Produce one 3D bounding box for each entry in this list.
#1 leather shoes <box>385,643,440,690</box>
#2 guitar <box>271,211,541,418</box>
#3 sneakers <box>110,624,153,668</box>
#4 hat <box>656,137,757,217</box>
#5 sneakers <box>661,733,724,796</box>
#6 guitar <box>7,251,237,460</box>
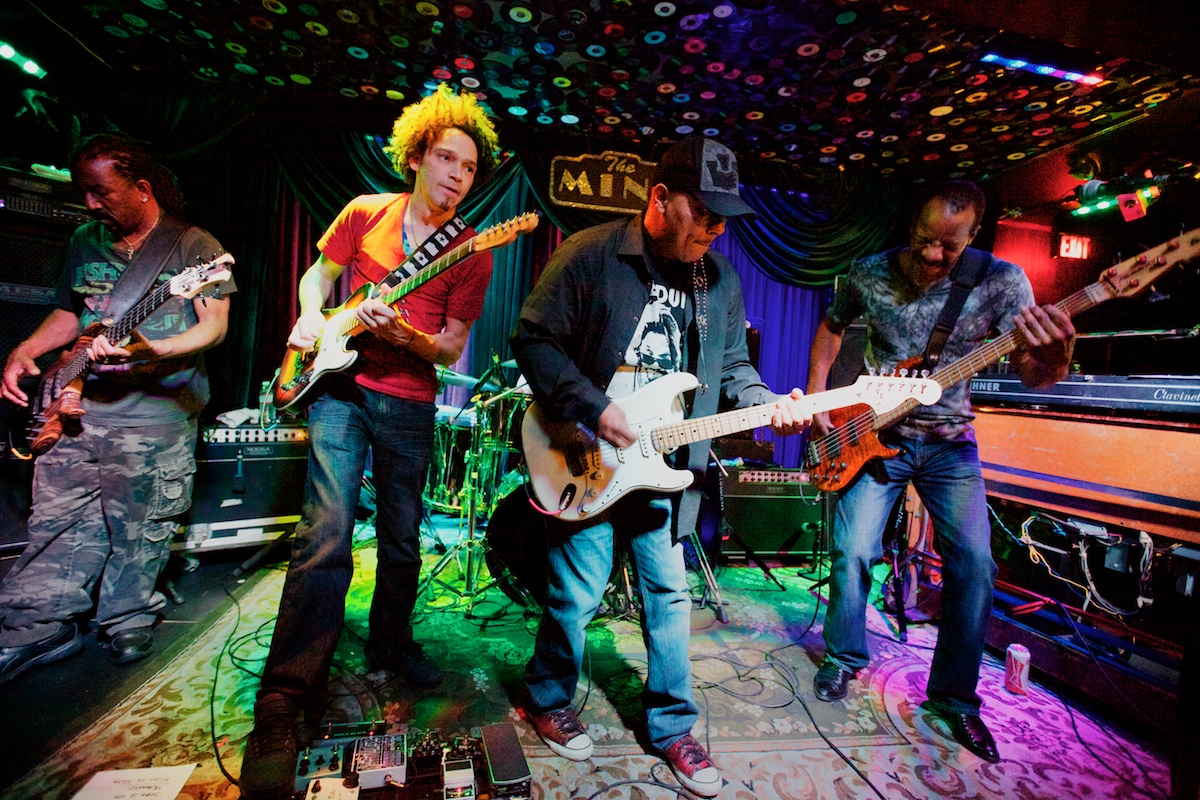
[{"bbox_3d":[-1.197,1.716,4.338,0.438,0.181,0.191,1,-7,37],"label":"leather shoes"},{"bbox_3d":[-1.323,-0.556,4.192,1.613,1.222,0.473,1,-3,18],"label":"guitar"},{"bbox_3d":[-3.087,1.609,4.490,0.258,0.141,0.240,4,-3,-38],"label":"sneakers"},{"bbox_3d":[0.609,-1.322,3.913,0.633,0.349,0.445,34,32,29],"label":"hat"},{"bbox_3d":[0.514,2.069,3.908,0.179,0.152,0.413,-2,16,-27],"label":"sneakers"},{"bbox_3d":[-3.152,-0.293,4.424,1.445,0.909,0.317,1,-2,11],"label":"guitar"}]
